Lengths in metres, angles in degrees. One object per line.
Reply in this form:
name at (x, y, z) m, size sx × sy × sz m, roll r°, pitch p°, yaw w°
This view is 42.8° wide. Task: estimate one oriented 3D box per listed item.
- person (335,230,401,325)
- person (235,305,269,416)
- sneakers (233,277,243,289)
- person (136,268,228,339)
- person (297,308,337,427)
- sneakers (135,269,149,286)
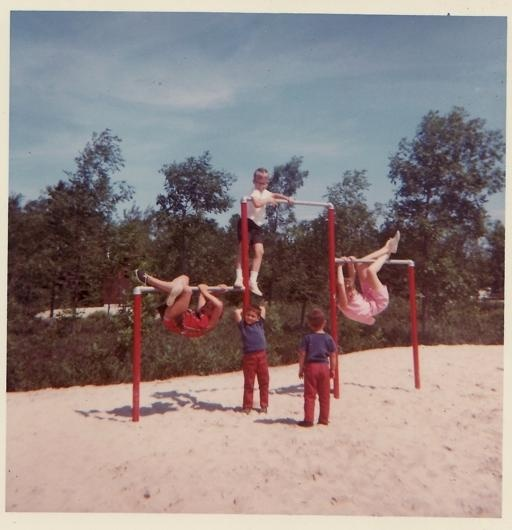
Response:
person at (1.503, 0.229, 8.978) m, size 1.077 × 1.327 × 0.563 m, roll -7°, pitch 11°, yaw -37°
person at (-0.050, 1.178, 7.992) m, size 0.398 × 1.380 × 0.363 m, roll 0°, pitch 8°, yaw -2°
sneakers at (-0.223, 0.221, 8.046) m, size 0.100 × 0.187 × 0.107 m, roll 5°, pitch -11°, yaw -10°
person at (-0.951, 0.456, 7.826) m, size 1.199 × 0.757 × 0.532 m, roll 25°, pitch -24°, yaw -20°
person at (0.760, 1.235, 7.859) m, size 0.389 × 1.440 × 0.844 m, roll 2°, pitch 9°, yaw 13°
sneakers at (-1.500, 0.162, 8.525) m, size 0.074 × 0.246 × 0.088 m, roll -21°, pitch -21°, yaw 33°
